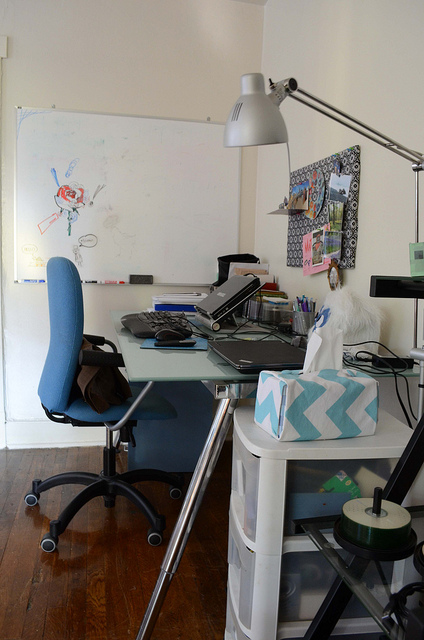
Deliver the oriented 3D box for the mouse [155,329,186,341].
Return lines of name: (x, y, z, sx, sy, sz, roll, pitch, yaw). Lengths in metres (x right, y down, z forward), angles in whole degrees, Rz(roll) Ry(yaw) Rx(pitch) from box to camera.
mouse: (-0.143, 0.053, 1.676, 0.068, 0.022, 0.042, 0, 8, -26)

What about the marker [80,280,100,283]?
marker: (-0.674, -0.213, 2.832, 0.095, 0.016, 0.011, 0, 6, -17)

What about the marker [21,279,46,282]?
marker: (-0.967, -0.209, 2.747, 0.114, 0.014, 0.022, 0, 6, -20)

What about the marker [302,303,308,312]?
marker: (0.339, -0.046, 1.863, 0.021, 0.029, 0.013, 2, 6, 6)

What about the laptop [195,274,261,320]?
laptop: (0.059, -0.099, 1.979, 0.194, 0.046, 0.194, -39, 4, -28)
